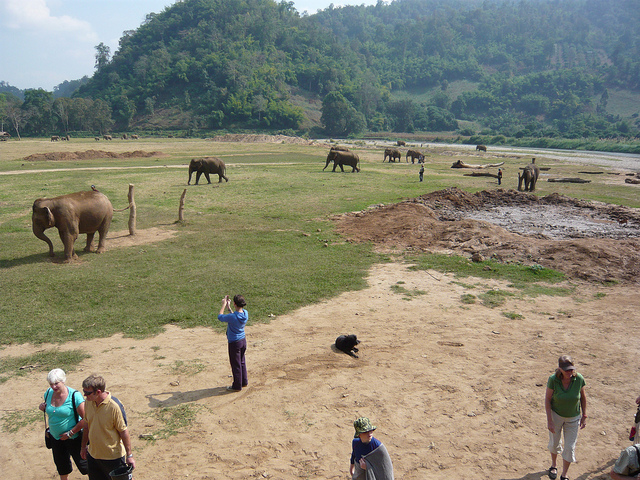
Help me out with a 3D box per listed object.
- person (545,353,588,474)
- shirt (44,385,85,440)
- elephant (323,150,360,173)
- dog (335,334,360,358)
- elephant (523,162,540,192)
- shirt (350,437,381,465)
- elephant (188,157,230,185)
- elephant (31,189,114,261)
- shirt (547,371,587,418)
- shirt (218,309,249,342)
[{"bbox_3d":[6.941,4.985,19.376,1.096,3.330,0.867,7,16,19],"label":"person"},{"bbox_3d":[-7.197,4.741,18.834,1.267,1.221,0.703,2,-1,1],"label":"shirt"},{"bbox_3d":[2.190,-6.969,60.952,2.723,1.810,2.913,3,14,4],"label":"elephant"},{"bbox_3d":[0.881,3.526,22.894,0.850,0.635,0.543,10,16,26],"label":"dog"},{"bbox_3d":[15.540,-4.578,50.285,0.929,1.975,3.109,7,15,18],"label":"elephant"},{"bbox_3d":[1.219,5.577,18.020,0.986,0.934,0.533,2,3,5],"label":"shirt"},{"bbox_3d":[-7.987,-4.849,48.319,1.276,1.770,2.966,14,19,38],"label":"elephant"},{"bbox_3d":[-10.802,-0.668,29.896,1.683,2.965,3.661,20,24,40],"label":"elephant"},{"bbox_3d":[7.229,4.413,19.523,0.716,1.167,1.219,-9,-7,-40],"label":"shirt"},{"bbox_3d":[-2.674,2.715,21.698,0.895,1.063,0.906,14,17,29],"label":"shirt"}]
